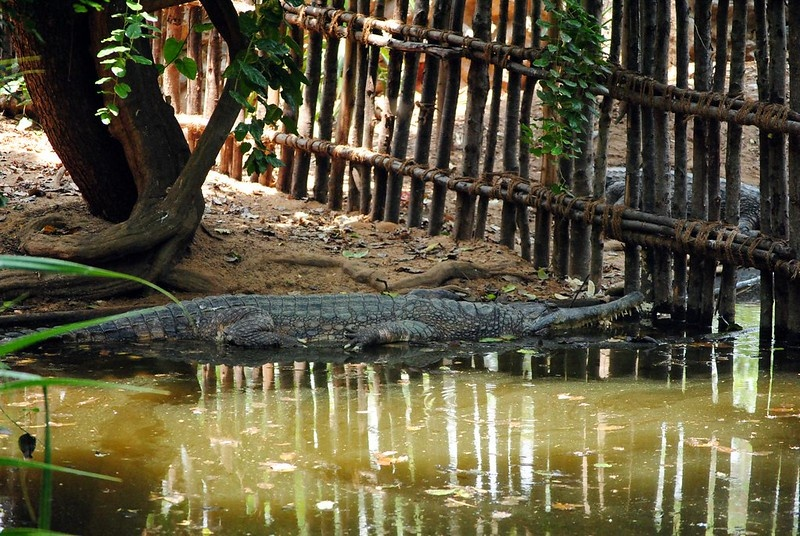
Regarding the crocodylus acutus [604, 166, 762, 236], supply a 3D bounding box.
[{"bbox_3d":[3.380,-0.829,16.739,1.543,0.377,1.086,8,9,13],"label":"crocodylus acutus"}]
